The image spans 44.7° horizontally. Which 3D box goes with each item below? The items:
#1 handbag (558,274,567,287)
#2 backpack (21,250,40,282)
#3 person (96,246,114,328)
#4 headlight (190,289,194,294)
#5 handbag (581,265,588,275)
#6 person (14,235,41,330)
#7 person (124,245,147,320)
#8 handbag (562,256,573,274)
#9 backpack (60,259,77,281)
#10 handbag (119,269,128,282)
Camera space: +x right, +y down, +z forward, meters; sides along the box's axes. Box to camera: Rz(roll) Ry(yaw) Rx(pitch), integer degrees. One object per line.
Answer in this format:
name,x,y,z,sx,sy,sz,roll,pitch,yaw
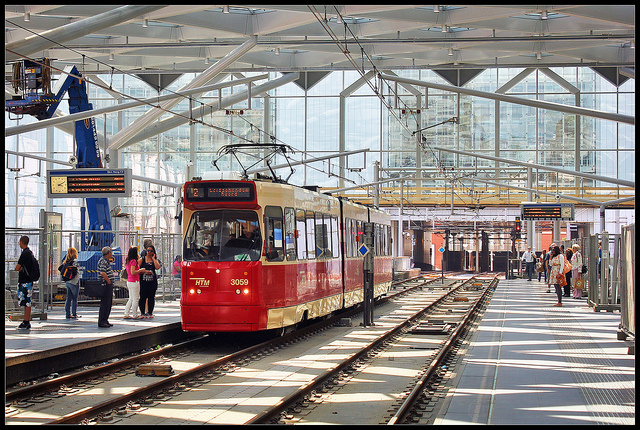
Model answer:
handbag,9.682,2.651,31.166,0.205,0.502,0.409,2,1,27
backpack,-8.372,1.492,22.660,0.365,0.942,0.541,-1,-3,11
person,-6.463,2.169,23.470,0.445,2.394,1.145,0,-3,-16
headlight,-3.658,2.202,22.299,0.140,0.121,0.031,5,-5,-4
handbag,11.562,2.391,34.114,0.204,0.160,0.421,-23,14,11
person,-8.499,1.965,22.602,0.629,2.746,0.516,0,-3,-17
person,-5.908,2.179,24.883,0.629,2.338,1.250,1,-3,-17
handbag,10.361,2.088,32.678,0.441,0.753,0.804,-16,2,13
backpack,-7.718,1.688,24.004,0.462,0.626,0.376,1,-3,-21
handbag,-6.243,1.940,24.811,0.203,0.401,0.655,1,-3,-17
